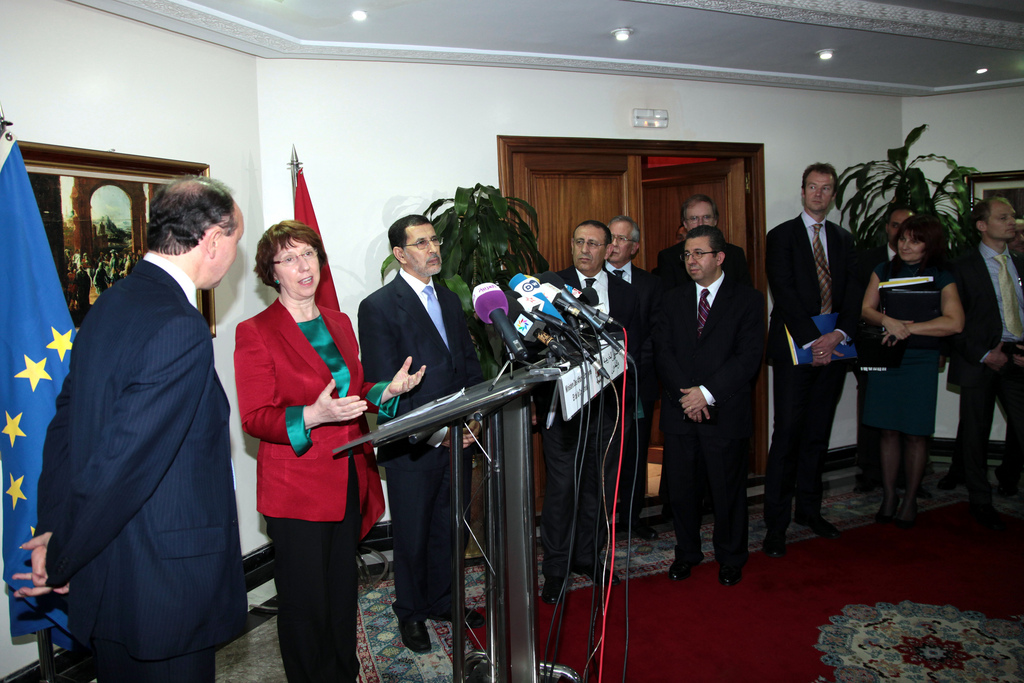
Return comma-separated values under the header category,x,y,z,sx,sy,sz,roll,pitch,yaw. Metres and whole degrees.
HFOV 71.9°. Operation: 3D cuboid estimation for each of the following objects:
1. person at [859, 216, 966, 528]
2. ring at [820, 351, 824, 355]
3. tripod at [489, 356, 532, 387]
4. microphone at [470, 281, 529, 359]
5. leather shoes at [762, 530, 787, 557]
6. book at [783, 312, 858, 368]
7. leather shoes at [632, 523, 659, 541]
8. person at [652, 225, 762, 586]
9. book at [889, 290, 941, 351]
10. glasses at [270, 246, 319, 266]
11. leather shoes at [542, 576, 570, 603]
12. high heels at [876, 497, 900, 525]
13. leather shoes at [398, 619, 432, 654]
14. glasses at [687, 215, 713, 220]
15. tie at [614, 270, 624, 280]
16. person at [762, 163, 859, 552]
category,x,y,z,sx,sy,sz,roll,pitch,yaw
person,2.839,0.200,5.098,0.633,2.168,0.558,5,12,34
ring,2.096,0.074,4.800,0.019,0.022,0.006,2,6,-2
tripod,-0.027,0.135,2.867,0.093,0.126,0.151,-6,9,-3
microphone,-0.063,-0.105,2.803,0.138,0.155,0.371,-28,48,1
leather shoes,1.772,1.353,4.736,0.208,0.112,0.147,-6,12,-15
book,2.131,-0.011,4.859,0.345,0.397,0.089,-4,0,-2
leather shoes,0.958,1.366,5.078,0.076,0.080,0.169,-1,-2,-30
person,1.211,0.384,4.434,0.665,2.166,0.526,2,11,20
book,2.888,-0.176,5.178,0.367,0.434,0.371,0,6,16
glasses,-1.033,-0.408,3.347,0.194,0.078,0.051,-3,11,-3
leather shoes,0.228,1.509,4.284,0.134,0.099,0.170,0,12,9
high heels,2.746,1.215,5.179,0.091,0.105,0.260,-14,20,45
leather shoes,-0.552,1.640,3.953,0.101,0.112,0.222,4,4,-35
glasses,1.371,-0.909,5.192,0.164,0.054,0.043,0,11,12
tie,0.744,-0.476,4.911,0.055,0.091,0.033,-1,-5,-14
person,2.029,0.075,4.914,1.026,2.545,0.582,-9,13,-36
